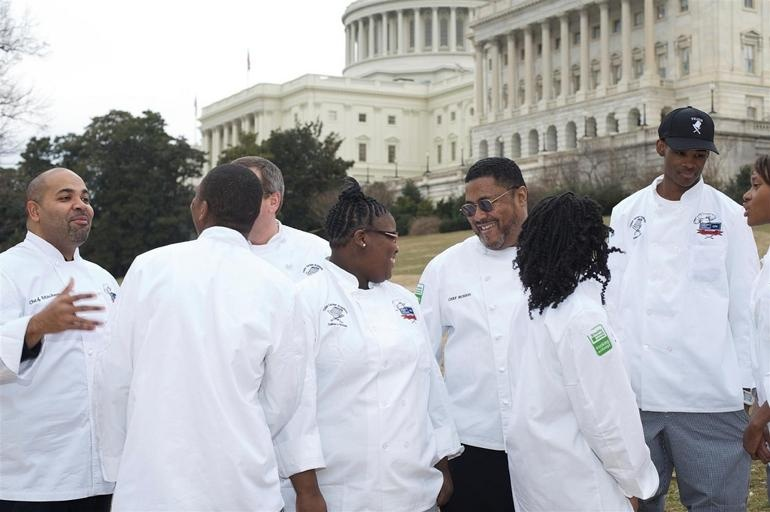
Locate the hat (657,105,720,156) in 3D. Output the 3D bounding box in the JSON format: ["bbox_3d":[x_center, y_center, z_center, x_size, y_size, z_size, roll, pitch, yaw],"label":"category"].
[{"bbox_3d":[3.013,-1.261,13.555,0.424,0.343,0.600,-1,19,-16],"label":"hat"}]
